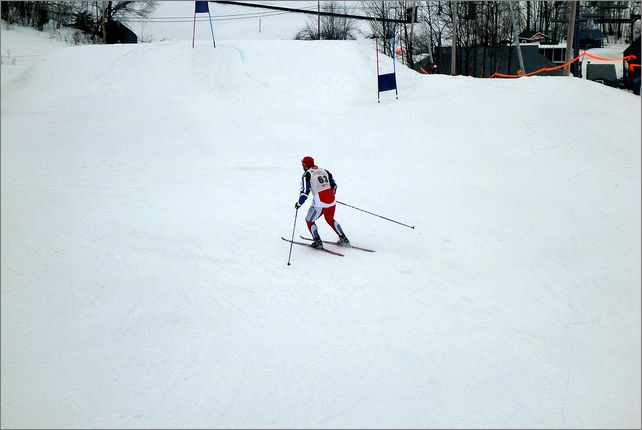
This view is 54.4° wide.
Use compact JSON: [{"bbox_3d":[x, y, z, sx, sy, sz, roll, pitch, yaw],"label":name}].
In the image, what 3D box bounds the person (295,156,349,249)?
[{"bbox_3d":[0.047,-0.308,15.059,1.270,2.119,1.041,2,15,2],"label":"person"}]
